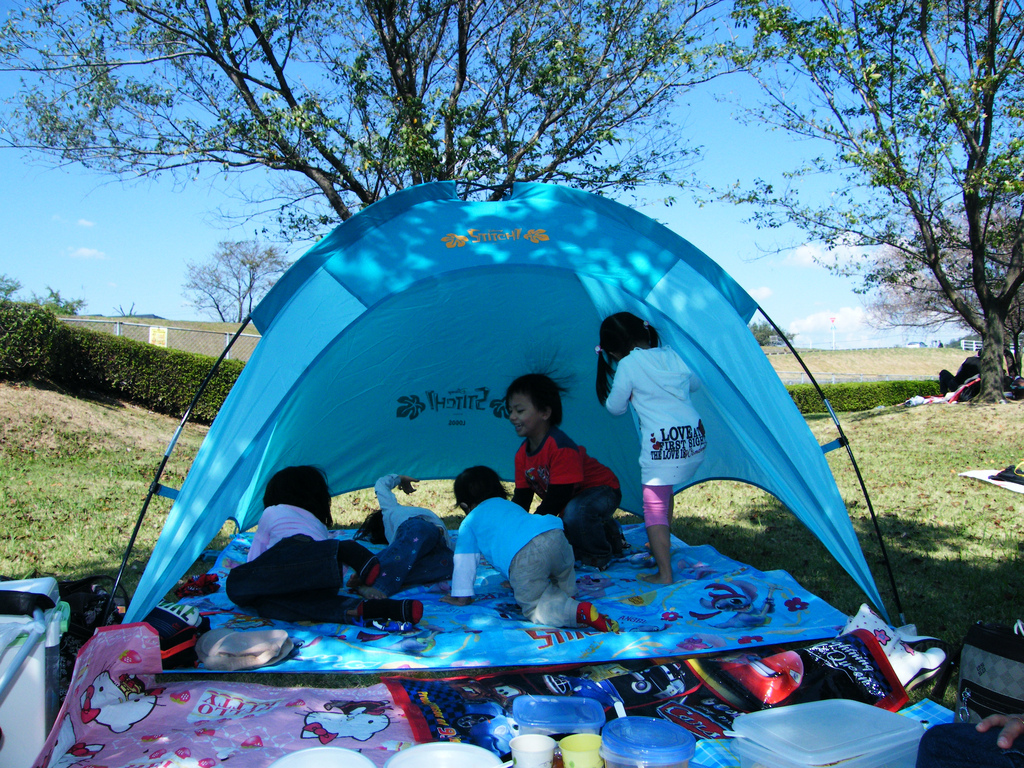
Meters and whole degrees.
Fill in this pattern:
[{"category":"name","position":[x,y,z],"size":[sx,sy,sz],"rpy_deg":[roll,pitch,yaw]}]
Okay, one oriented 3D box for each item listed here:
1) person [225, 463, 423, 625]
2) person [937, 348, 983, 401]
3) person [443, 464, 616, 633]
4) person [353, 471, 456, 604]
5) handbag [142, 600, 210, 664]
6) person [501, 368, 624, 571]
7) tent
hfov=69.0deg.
[{"category":"person","position":[-1.095,0.875,4.178],"size":[0.894,0.830,0.682],"rpy_deg":[-2,-7,-3]},{"category":"person","position":[9.835,-0.097,16.355],"size":[0.736,1.114,2.552],"rpy_deg":[-7,-8,30]},{"category":"person","position":[0.081,0.916,4.084],"size":[0.626,0.733,1.364],"rpy_deg":[-10,9,-28]},{"category":"person","position":[-0.721,1.004,4.809],"size":[0.463,0.375,0.736],"rpy_deg":[-5,8,-26]},{"category":"handbag","position":[-1.572,1.180,3.465],"size":[0.241,0.251,0.327],"rpy_deg":[-3,-7,1]},{"category":"person","position":[0.284,0.601,5.160],"size":[1.156,1.308,0.847],"rpy_deg":[-1,-3,-5]},{"category":"tent","position":[-0.160,-0.077,5.524],"size":[3.522,1.866,3.483],"rpy_deg":[-1,-1,-2]}]
